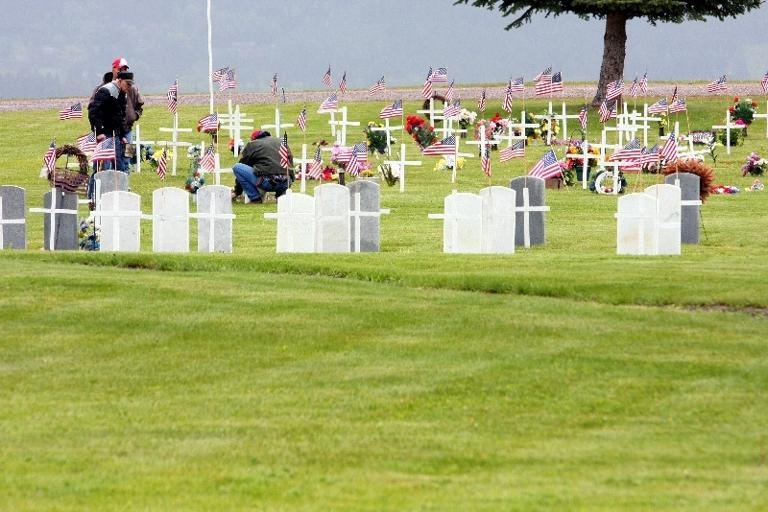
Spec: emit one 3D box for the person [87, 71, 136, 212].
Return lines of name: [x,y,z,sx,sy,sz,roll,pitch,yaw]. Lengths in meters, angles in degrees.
person: [-6.722,-2.898,51.910,1.109,3.427,1.092,7,8,43]

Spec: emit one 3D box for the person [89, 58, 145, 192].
person: [-6.583,-3.011,52.256,1.212,3.561,0.972,-4,27,-20]

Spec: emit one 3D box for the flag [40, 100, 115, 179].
flag: [-7.233,-2.298,51.347,1.534,2.020,0.907,29,-30,14]
